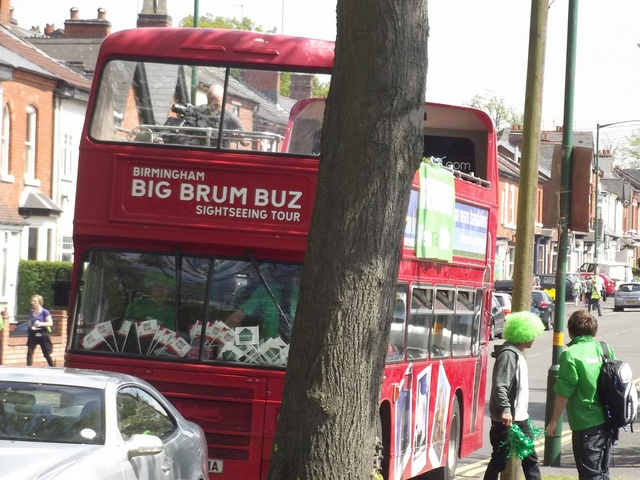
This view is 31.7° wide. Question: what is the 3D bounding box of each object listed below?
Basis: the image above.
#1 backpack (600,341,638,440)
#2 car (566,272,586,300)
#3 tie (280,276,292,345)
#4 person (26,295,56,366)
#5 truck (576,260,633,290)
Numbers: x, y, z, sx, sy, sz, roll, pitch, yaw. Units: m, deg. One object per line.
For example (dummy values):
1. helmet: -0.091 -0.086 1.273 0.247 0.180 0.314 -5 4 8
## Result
1. backpack: 3.181 1.641 12.109 0.392 1.031 0.463 -2 -8 15
2. car: 13.628 2.354 60.128 1.027 1.035 1.874 1 -9 15
3. tie: -0.378 0.783 12.464 0.100 0.663 0.030 5 -4 12
4. person: -5.794 1.860 23.433 0.519 1.487 2.275 2 -8 -14
5. truck: 18.130 2.199 72.289 2.511 1.559 1.725 3 2 10
